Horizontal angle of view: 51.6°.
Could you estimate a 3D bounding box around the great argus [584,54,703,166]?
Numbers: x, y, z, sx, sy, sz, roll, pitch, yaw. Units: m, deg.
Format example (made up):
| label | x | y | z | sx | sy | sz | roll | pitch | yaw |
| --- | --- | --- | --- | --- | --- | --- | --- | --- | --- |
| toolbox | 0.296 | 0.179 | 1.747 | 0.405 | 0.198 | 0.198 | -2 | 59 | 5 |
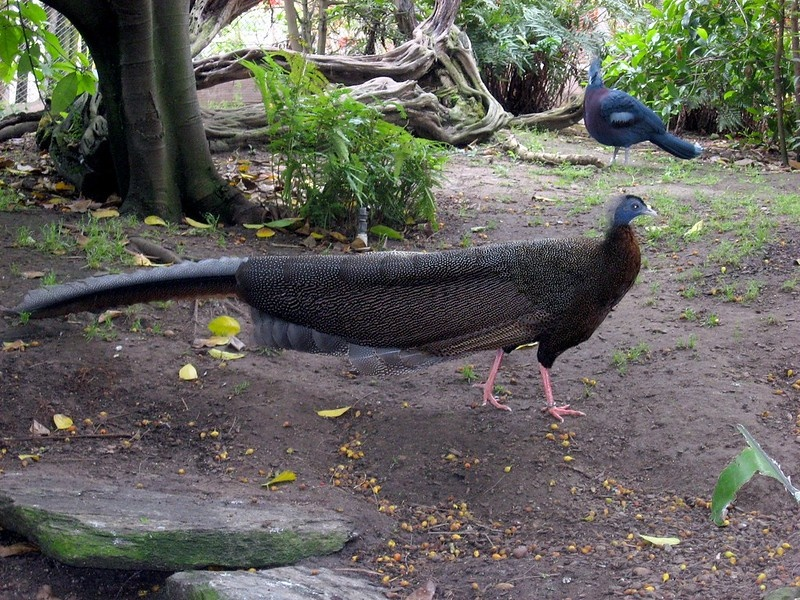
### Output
| label | x | y | z | sx | sy | sz | roll | pitch | yaw |
| --- | --- | --- | --- | --- | --- | --- | --- | --- | --- |
| great argus | 2.849 | -2.164 | 9.739 | 1.548 | 1.106 | 0.699 | 6 | 12 | -1 |
